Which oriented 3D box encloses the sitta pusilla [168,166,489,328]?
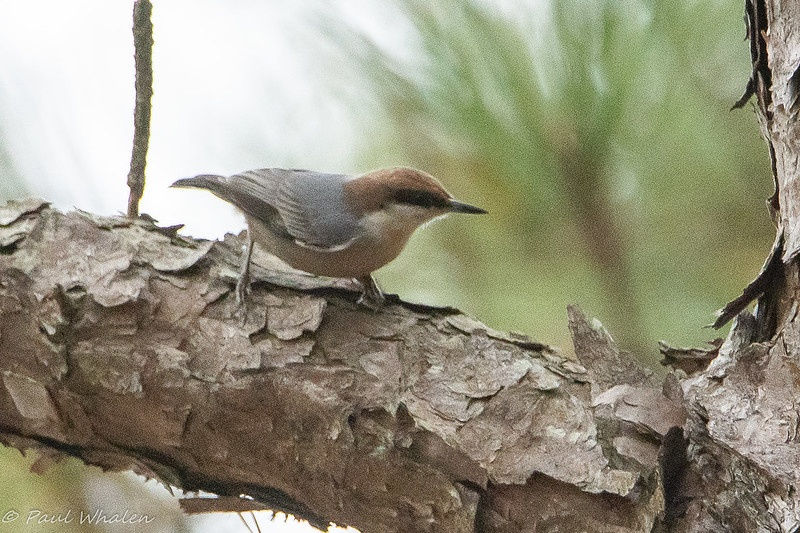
[{"bbox_3d":[-0.263,-0.112,4.989,0.917,0.428,0.530,15,6,9],"label":"sitta pusilla"}]
